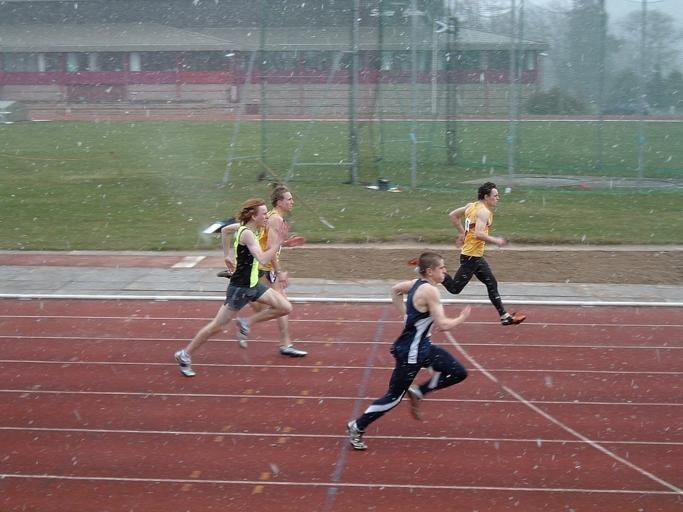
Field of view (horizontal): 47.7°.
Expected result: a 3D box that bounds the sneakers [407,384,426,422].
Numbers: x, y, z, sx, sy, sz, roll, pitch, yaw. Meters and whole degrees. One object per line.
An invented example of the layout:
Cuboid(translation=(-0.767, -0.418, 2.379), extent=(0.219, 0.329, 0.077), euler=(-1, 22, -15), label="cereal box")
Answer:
Cuboid(translation=(0.885, 1.656, 8.641), extent=(0.238, 0.350, 0.220), euler=(-9, -1, 14), label="sneakers")

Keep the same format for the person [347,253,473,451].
Cuboid(translation=(0.797, 1.033, 8.534), extent=(1.178, 2.172, 1.027), euler=(6, 15, 16), label="person")

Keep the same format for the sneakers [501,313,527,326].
Cuboid(translation=(2.522, 0.947, 11.394), extent=(0.427, 0.082, 0.241), euler=(-6, -18, 18), label="sneakers")

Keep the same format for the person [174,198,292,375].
Cuboid(translation=(-1.314, 0.422, 9.830), extent=(0.933, 2.285, 1.092), euler=(14, 18, 37), label="person")
